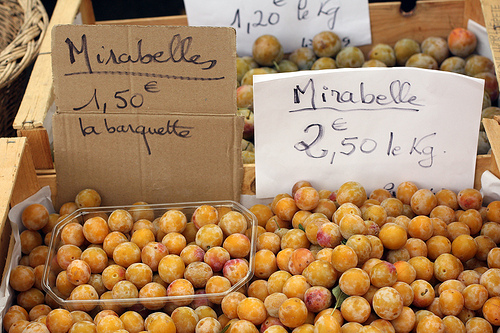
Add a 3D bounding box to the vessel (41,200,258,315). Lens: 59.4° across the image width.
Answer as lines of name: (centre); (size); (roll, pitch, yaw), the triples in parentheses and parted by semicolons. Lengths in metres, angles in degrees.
vessel: (-0.389, 0.378, 1.774); (0.699, 0.249, 0.441); (0, 48, 0)
